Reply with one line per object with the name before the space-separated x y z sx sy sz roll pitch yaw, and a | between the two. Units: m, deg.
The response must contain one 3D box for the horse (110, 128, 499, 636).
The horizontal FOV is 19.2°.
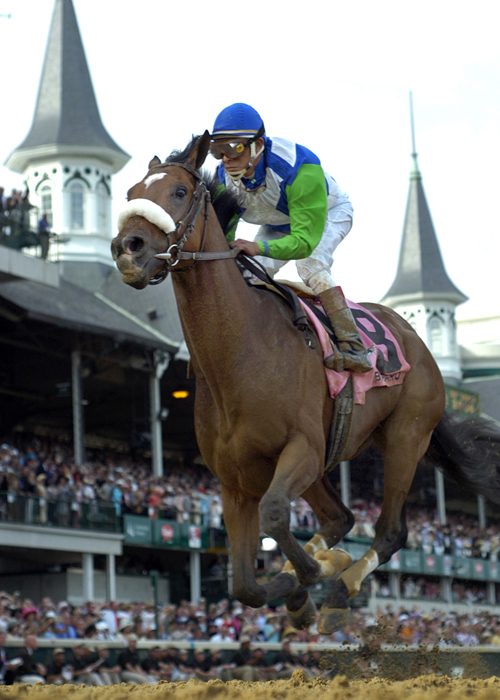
horse | 0.335 0.279 9.895 0.905 3.180 3.086 -9 -11 36
